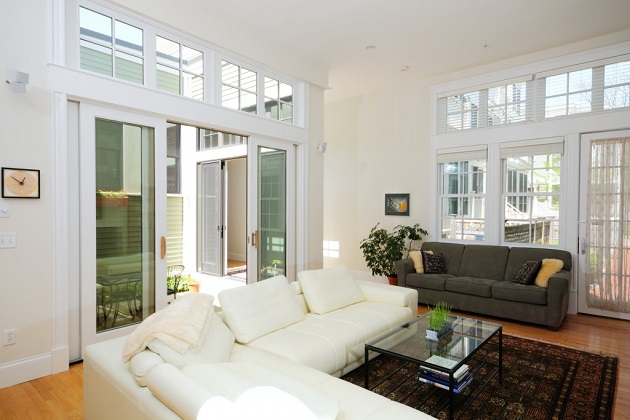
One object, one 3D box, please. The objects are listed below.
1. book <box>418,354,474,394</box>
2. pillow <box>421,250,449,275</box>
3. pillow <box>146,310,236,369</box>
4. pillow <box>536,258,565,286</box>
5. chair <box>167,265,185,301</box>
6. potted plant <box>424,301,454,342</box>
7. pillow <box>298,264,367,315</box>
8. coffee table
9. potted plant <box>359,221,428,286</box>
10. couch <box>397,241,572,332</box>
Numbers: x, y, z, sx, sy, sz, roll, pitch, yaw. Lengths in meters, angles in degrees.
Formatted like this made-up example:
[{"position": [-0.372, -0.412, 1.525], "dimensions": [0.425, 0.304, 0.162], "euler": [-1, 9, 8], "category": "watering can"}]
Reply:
[{"position": [1.405, 1.727, 4.440], "dimensions": [0.512, 0.163, 0.498], "euler": [2, 1, 36], "category": "book"}, {"position": [2.019, 0.898, 7.087], "dimensions": [0.387, 0.338, 0.118], "euler": [1, -24, -17], "category": "pillow"}, {"position": [-1.126, 1.287, 4.011], "dimensions": [0.414, 0.508, 0.821], "euler": [-4, 0, 35], "category": "pillow"}, {"position": [3.449, 0.928, 6.144], "dimensions": [0.476, 0.315, 0.269], "euler": [-4, 0, -34], "category": "pillow"}, {"position": [-2.290, 1.331, 6.927], "dimensions": [0.228, 0.314, 0.262], "euler": [-14, 12, -41], "category": "chair"}, {"position": [1.494, 1.308, 4.885], "dimensions": [0.172, 0.293, 0.504], "euler": [-4, -11, 38], "category": "potted plant"}, {"position": [0.191, 1.018, 5.358], "dimensions": [0.884, 0.510, 0.230], "euler": [-7, -27, -44], "category": "pillow"}, {"position": [1.273, 1.310, 4.607], "dimensions": [1.052, 0.702, 1.540], "euler": [-1, 1, 40], "category": "coffee table"}, {"position": [1.576, 0.923, 7.832], "dimensions": [1.363, 1.294, 0.960], "euler": [-3, 2, 9], "category": "potted plant"}, {"position": [2.669, 1.121, 6.746], "dimensions": [2.570, 0.994, 0.983], "euler": [1, 2, 38], "category": "couch"}]
